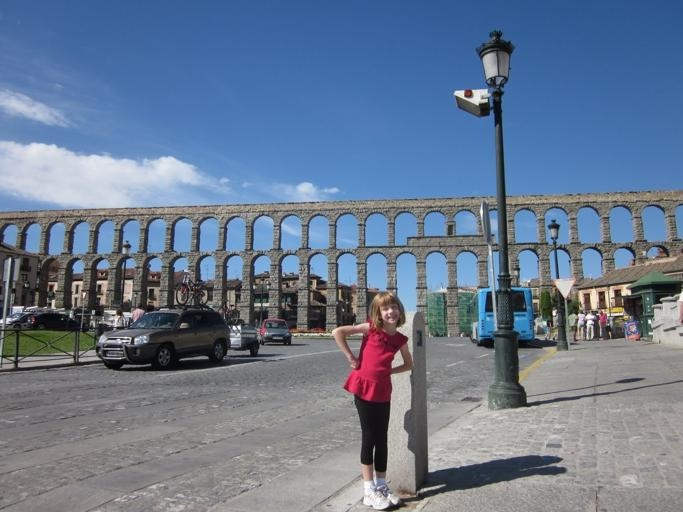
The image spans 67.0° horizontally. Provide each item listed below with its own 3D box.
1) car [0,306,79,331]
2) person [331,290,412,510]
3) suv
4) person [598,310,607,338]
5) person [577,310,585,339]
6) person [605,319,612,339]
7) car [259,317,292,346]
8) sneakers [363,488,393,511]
[{"bbox_3d":[-24.254,5.134,41.668,4.770,1.506,3.619,4,-11,-36],"label":"car"},{"bbox_3d":[0.339,1.392,5.067,0.751,2.063,0.375,-4,-9,8],"label":"person"},{"bbox_3d":[-5.314,2.539,16.043,1.212,1.793,3.612,-9,-11,34],"label":"suv"},{"bbox_3d":[16.143,4.234,31.636,0.485,1.468,2.195,-7,-10,26],"label":"person"},{"bbox_3d":[15.528,4.432,33.137,0.486,1.616,1.610,-7,-10,24],"label":"person"},{"bbox_3d":[16.019,4.284,30.726,0.310,1.092,1.429,-7,-10,26],"label":"person"},{"bbox_3d":[-4.324,4.817,33.199,1.845,1.647,2.158,-1,-9,-9],"label":"car"},{"bbox_3d":[0.340,2.326,4.935,0.321,0.141,0.127,-15,-17,40],"label":"sneakers"}]
